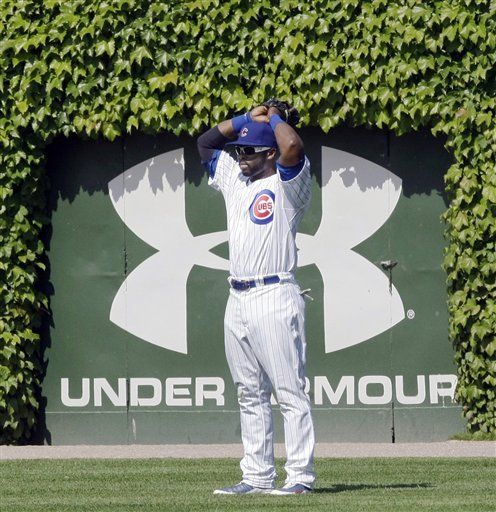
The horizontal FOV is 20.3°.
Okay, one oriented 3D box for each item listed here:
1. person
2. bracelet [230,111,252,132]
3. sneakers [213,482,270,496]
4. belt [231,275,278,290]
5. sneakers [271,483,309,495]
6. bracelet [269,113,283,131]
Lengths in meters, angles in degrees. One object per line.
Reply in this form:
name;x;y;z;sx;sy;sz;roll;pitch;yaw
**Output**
person;0.094;0.267;9.716;0.736;2.559;0.573;-2;0;9
bracelet;-0.049;-0.963;9.878;0.094;0.143;0.129;6;18;43
sneakers;-0.042;1.615;9.616;0.374;0.147;0.154;2;-10;4
belt;0.040;0.175;9.572;0.371;0.100;0.088;-3;0;28
sneakers;0.291;1.583;9.480;0.254;0.131;0.099;3;1;0
bracelet;0.192;-0.933;9.623;0.084;0.120;0.094;-5;-4;23
